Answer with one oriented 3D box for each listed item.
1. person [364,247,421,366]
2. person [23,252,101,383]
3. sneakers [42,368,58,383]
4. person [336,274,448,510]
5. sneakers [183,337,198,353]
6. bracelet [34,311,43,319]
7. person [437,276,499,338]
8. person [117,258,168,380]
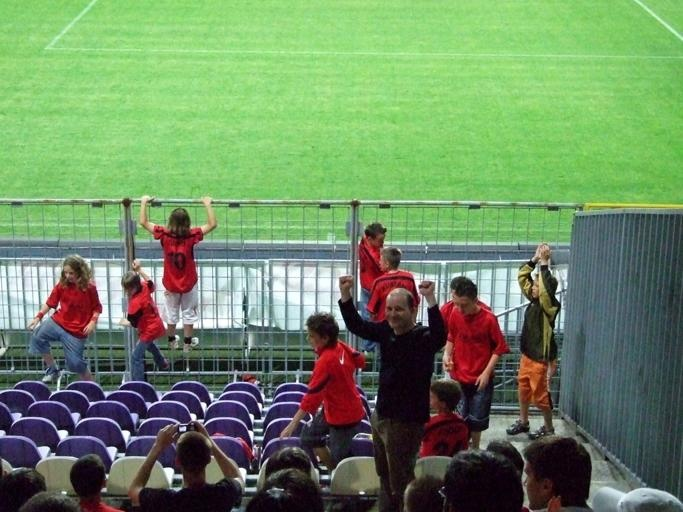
[{"bbox_3d":[0.860,0.919,21.725,0.981,2.046,0.632,-2,17,-22],"label":"person"},{"bbox_3d":[-5.038,1.155,22.175,1.190,2.300,0.645,-1,-3,13],"label":"person"},{"bbox_3d":[-5.424,2.209,22.472,0.196,0.235,0.533,5,-4,-34],"label":"sneakers"},{"bbox_3d":[1.006,2.297,19.704,1.140,3.742,0.548,-1,-3,7],"label":"person"},{"bbox_3d":[-2.799,1.612,22.529,0.155,0.189,0.437,11,25,6],"label":"sneakers"},{"bbox_3d":[-5.558,1.094,22.285,0.150,0.104,0.196,1,-2,-11],"label":"bracelet"},{"bbox_3d":[1.895,0.829,20.972,0.757,0.906,0.397,-5,15,11],"label":"person"},{"bbox_3d":[-3.670,1.184,22.275,0.852,2.207,0.641,1,-4,-28],"label":"person"}]
